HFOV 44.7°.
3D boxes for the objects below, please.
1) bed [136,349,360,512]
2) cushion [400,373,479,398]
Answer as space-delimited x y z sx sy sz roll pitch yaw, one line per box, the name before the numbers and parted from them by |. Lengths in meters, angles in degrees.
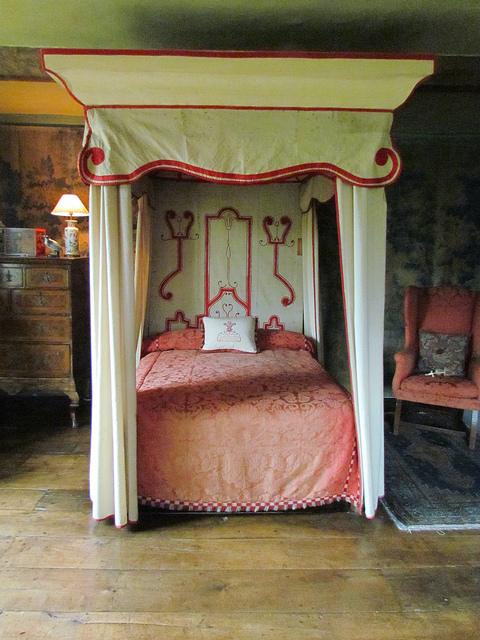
bed | -0.013 0.657 3.621 1.206 0.611 1.234 -1 13 -7
cushion | 1.456 0.464 4.218 0.527 0.090 0.294 7 15 27
